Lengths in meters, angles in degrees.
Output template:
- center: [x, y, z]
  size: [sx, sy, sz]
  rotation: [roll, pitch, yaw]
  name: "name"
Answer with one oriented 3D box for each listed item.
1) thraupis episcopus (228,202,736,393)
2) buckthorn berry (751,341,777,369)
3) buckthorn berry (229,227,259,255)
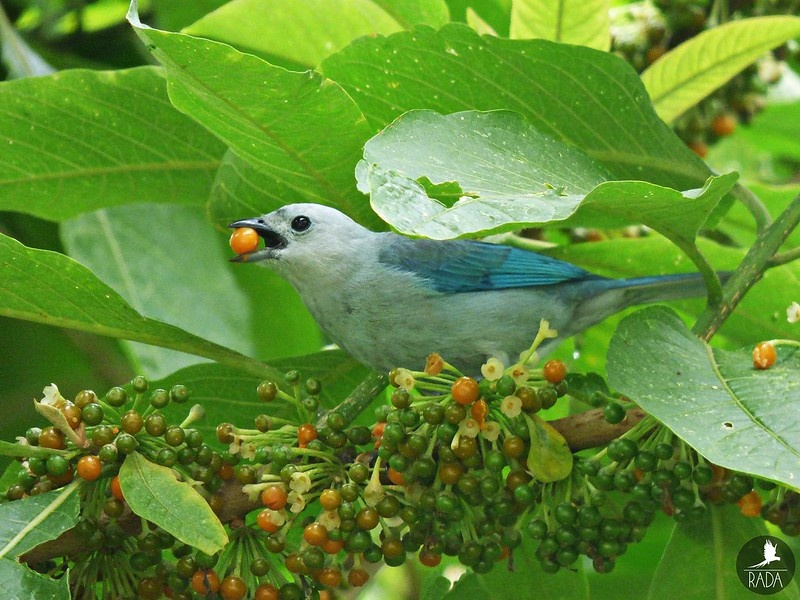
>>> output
- center: [0.268, -0.013, 2.720]
  size: [1.529, 0.393, 0.628]
  rotation: [-2, 54, -5]
  name: "thraupis episcopus"
- center: [0.887, 0.138, 2.279]
  size: [0.057, 0.036, 0.068]
  rotation: [37, 70, -9]
  name: "buckthorn berry"
- center: [-0.466, -0.182, 2.846]
  size: [0.094, 0.092, 0.086]
  rotation: [-1, 13, 2]
  name: "buckthorn berry"
